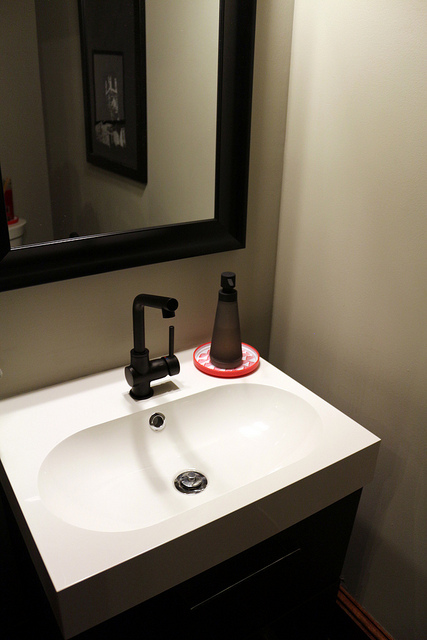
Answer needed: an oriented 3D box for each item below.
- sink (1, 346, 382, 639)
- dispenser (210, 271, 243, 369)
[{"bbox_3d":[-0.076,0.238,0.981,0.631,0.161,0.540,-17,28,-32],"label":"sink"},{"bbox_3d":[0.024,0.003,1.152,0.070,0.207,0.072,-10,33,-29],"label":"dispenser"}]
